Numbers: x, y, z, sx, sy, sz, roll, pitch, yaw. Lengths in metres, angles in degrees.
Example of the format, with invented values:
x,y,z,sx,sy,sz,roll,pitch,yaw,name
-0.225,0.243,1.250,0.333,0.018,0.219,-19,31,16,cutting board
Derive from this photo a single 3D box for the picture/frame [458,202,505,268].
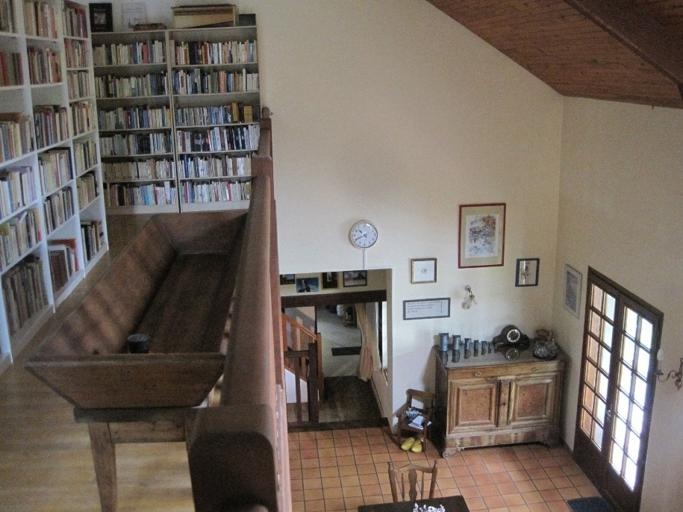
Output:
x,y,z,sx,sy,sz,roll,pitch,yaw,name
1.931,-0.337,7.766,0.864,1.194,0.049,-1,9,-8,picture/frame

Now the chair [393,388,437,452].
x,y,z,sx,sy,sz,roll,pitch,yaw,name
1.100,2.332,8.288,0.678,0.955,0.744,4,11,21,chair

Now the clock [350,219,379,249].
x,y,z,sx,sy,sz,roll,pitch,yaw,name
0.270,-0.307,7.788,0.366,0.369,0.366,-25,18,-2,clock

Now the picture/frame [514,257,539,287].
x,y,z,sx,sy,sz,roll,pitch,yaw,name
2.607,0.208,7.911,0.387,0.463,0.036,1,6,-5,picture/frame

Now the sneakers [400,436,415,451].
x,y,z,sx,sy,sz,roll,pitch,yaw,name
0.937,2.674,7.935,0.104,0.070,0.214,10,27,31,sneakers

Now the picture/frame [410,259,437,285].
x,y,z,sx,sy,sz,roll,pitch,yaw,name
1.136,0.202,7.814,0.347,0.352,0.046,-1,10,-4,picture/frame

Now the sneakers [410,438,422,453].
x,y,z,sx,sy,sz,roll,pitch,yaw,name
1.084,2.715,7.928,0.130,0.111,0.217,7,15,34,sneakers

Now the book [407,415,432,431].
x,y,z,sx,sy,sz,roll,pitch,yaw,name
1.111,2.401,7.995,0.196,0.082,0.208,6,27,17,book

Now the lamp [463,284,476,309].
x,y,z,sx,sy,sz,roll,pitch,yaw,name
1.814,0.604,7.960,0.142,0.161,0.375,-1,18,-1,lamp

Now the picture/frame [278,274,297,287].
x,y,z,sx,sy,sz,roll,pitch,yaw,name
-0.926,0.406,9.556,0.267,0.239,0.213,-1,13,5,picture/frame

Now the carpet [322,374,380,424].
x,y,z,sx,sy,sz,roll,pitch,yaw,name
0.123,2.451,9.609,0.988,0.120,1.888,-2,12,-2,carpet
